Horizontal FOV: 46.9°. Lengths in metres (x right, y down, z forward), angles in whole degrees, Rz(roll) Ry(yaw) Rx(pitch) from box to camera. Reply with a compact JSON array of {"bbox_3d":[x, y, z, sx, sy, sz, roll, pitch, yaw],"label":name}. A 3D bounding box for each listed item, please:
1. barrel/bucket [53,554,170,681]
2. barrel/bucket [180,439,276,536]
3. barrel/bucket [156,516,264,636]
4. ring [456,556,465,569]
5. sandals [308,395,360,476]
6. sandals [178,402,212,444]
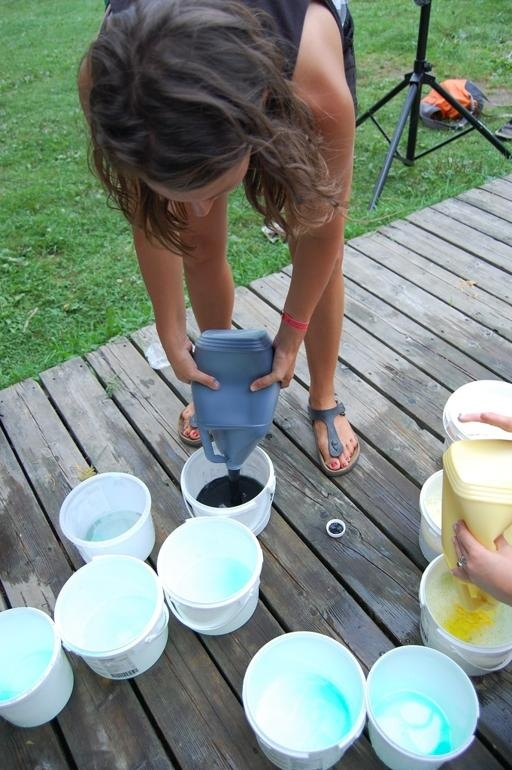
[{"bbox_3d":[-0.303,0.487,1.302,0.259,0.194,0.251,1,51,-1],"label":"barrel/bucket"},{"bbox_3d":[-0.064,0.258,1.449,0.224,0.167,0.226,-7,52,9],"label":"barrel/bucket"},{"bbox_3d":[-0.101,0.429,1.277,0.210,0.211,0.223,1,34,-1],"label":"barrel/bucket"},{"bbox_3d":[0.352,0.306,1.013,0.015,0.019,0.017,-4,71,-3],"label":"ring"},{"bbox_3d":[0.207,0.138,1.611,0.084,0.085,0.233,-13,46,6],"label":"sandals"},{"bbox_3d":[-0.188,0.116,1.737,0.092,0.043,0.111,4,66,10],"label":"sandals"}]
